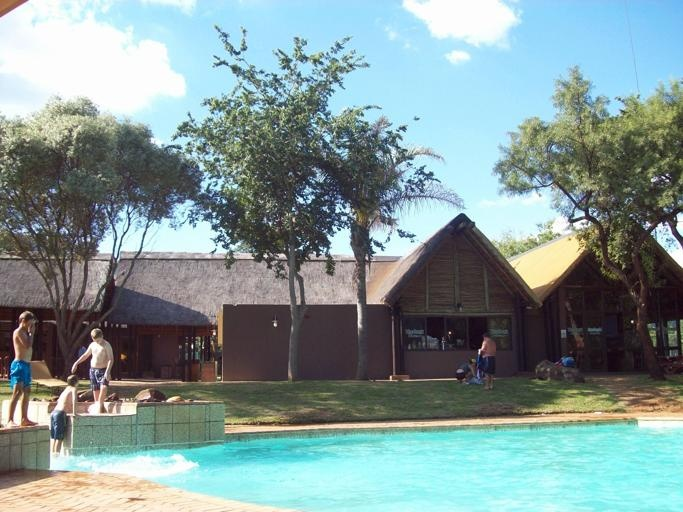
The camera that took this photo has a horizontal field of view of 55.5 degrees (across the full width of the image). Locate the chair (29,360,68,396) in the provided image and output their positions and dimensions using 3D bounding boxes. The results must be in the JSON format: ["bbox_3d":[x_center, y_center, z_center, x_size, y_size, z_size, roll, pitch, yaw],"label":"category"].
[{"bbox_3d":[-11.095,4.628,24.669,1.228,1.174,2.413,3,-3,-44],"label":"chair"}]
